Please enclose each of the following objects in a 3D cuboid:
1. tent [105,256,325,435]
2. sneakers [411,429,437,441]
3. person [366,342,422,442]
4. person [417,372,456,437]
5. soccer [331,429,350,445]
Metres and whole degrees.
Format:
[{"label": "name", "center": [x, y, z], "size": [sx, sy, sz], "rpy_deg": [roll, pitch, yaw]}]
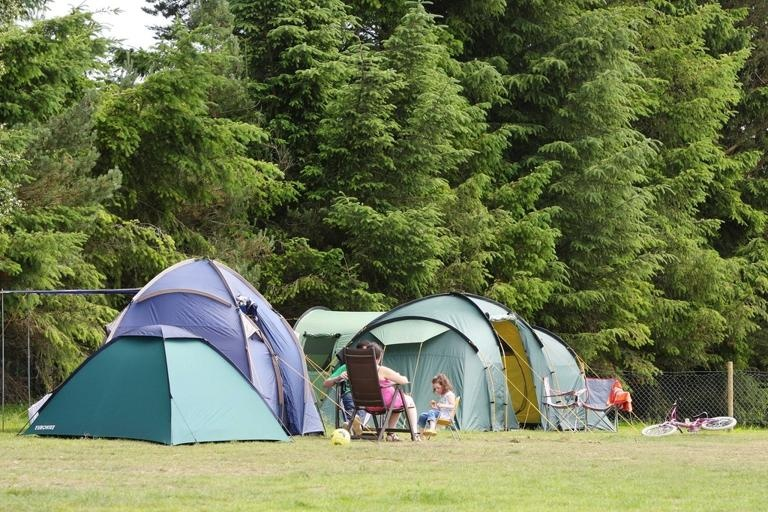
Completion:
[{"label": "tent", "center": [-3.728, 1.749, 29.696], "size": [4.034, 2.860, 4.225], "rpy_deg": [2, 8, 3]}, {"label": "sneakers", "center": [0.862, 4.168, 28.831], "size": [0.251, 0.223, 0.507], "rpy_deg": [7, -21, -25]}, {"label": "person", "center": [0.050, 3.183, 28.731], "size": [1.403, 2.388, 1.040], "rpy_deg": [-2, 4, -34]}, {"label": "person", "center": [1.198, 3.439, 29.233], "size": [0.952, 1.369, 0.857], "rpy_deg": [2, -6, -24]}, {"label": "soccer", "center": [-0.982, 4.034, 27.740], "size": [0.409, 0.373, 0.371], "rpy_deg": [-2, -11, -4]}]
